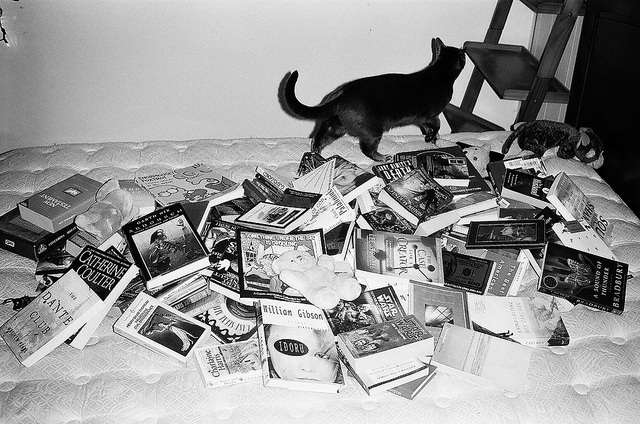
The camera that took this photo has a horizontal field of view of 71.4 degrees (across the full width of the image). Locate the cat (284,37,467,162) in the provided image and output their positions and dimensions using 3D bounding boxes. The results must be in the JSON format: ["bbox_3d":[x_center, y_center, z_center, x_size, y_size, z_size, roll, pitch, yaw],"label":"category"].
[{"bbox_3d":[0.342,-0.557,2.350,1.082,0.559,0.258,-20,31,-19],"label":"cat"}]

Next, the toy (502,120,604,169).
[{"bbox_3d":[1.227,-0.321,2.352,0.441,0.158,0.274,-5,35,-12],"label":"toy"}]

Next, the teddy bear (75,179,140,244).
[{"bbox_3d":[-0.911,-0.007,1.923,0.258,0.208,0.087,-58,13,-31],"label":"teddy bear"}]

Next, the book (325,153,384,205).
[{"bbox_3d":[0.146,-0.157,2.076,0.181,0.054,0.271,-31,52,-18],"label":"book"}]

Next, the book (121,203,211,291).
[{"bbox_3d":[-0.614,0.136,1.796,0.285,0.072,0.310,-26,62,-9],"label":"book"}]

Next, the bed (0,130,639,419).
[{"bbox_3d":[-0.027,0.166,1.917,3.000,0.764,1.195,-2,18,0],"label":"bed"}]

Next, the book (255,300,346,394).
[{"bbox_3d":[-0.074,0.450,1.548,0.249,0.207,0.258,-5,18,-12],"label":"book"}]
